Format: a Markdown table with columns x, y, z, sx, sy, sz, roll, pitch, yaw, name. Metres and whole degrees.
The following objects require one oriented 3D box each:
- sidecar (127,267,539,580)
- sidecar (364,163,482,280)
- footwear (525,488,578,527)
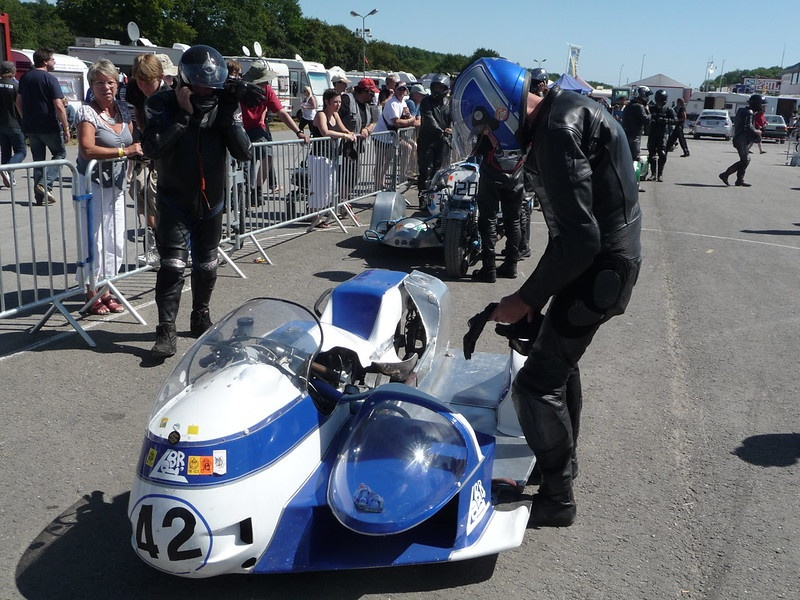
| x | y | z | sx | sy | sz | roll | pitch | yaw | name |
| --- | --- | --- | --- | --- | --- | --- | --- | --- | --- |
| -0.166 | 0.637 | 3.771 | 1.699 | 1.258 | 2.331 | 11 | 19 | 26 | sidecar |
| 0.624 | -1.297 | 8.930 | 1.424 | 1.034 | 2.331 | 16 | 30 | 24 | sidecar |
| 0.848 | 1.184 | 3.925 | 0.374 | 0.278 | 0.144 | -5 | 31 | 13 | footwear |
